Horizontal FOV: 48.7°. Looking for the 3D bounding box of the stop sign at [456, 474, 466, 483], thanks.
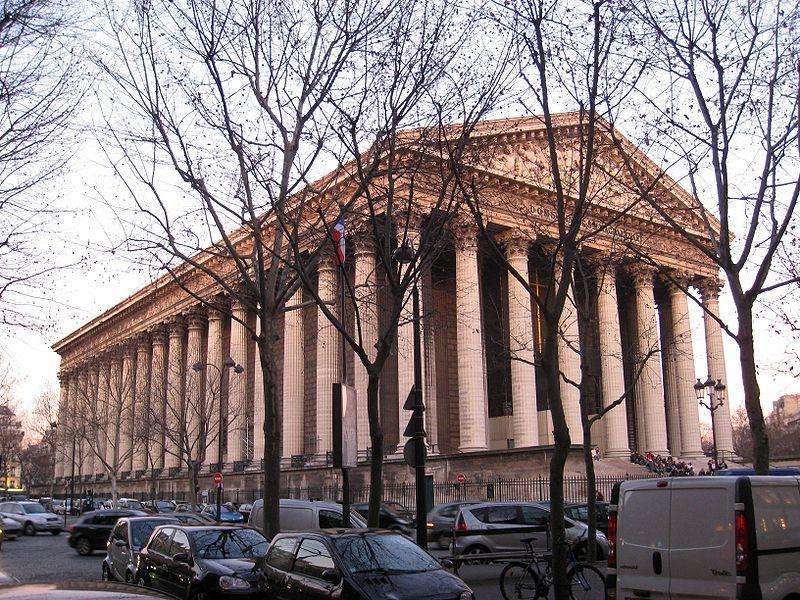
[{"bbox_3d":[3.077,8.916,43.943,0.261,0.541,0.520,0,-3,18],"label":"stop sign"}]
